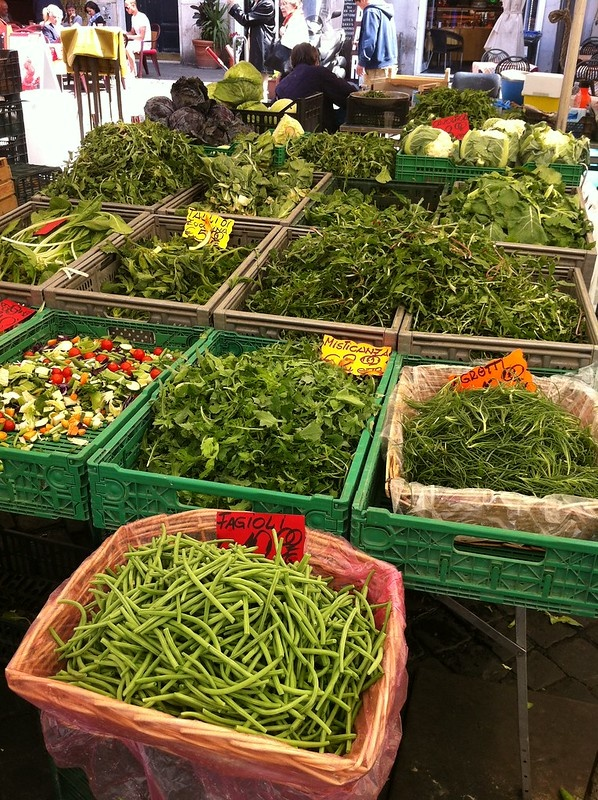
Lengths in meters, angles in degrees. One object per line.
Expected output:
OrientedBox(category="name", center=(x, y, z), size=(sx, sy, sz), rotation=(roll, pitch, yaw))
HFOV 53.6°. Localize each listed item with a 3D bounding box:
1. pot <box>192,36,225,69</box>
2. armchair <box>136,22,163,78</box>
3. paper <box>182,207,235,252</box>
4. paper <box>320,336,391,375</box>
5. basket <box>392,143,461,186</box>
OrientedBox(category="pot", center=(-2.923, -10.621, 18.148), size=(0.788, 0.578, 0.738), rotation=(1, 46, -1))
OrientedBox(category="armchair", center=(-4.400, -10.006, 16.939), size=(0.861, 1.129, 0.753), rotation=(-7, 40, -8))
OrientedBox(category="paper", center=(-0.610, -1.148, 4.019), size=(0.346, 0.323, 0.089), rotation=(11, -17, -1))
OrientedBox(category="paper", center=(0.245, -0.199, 2.665), size=(0.272, 0.152, 0.069), rotation=(11, -18, 11))
OrientedBox(category="basket", center=(1.111, -2.021, 5.084), size=(0.441, 0.136, 0.306), rotation=(6, 38, 7))
